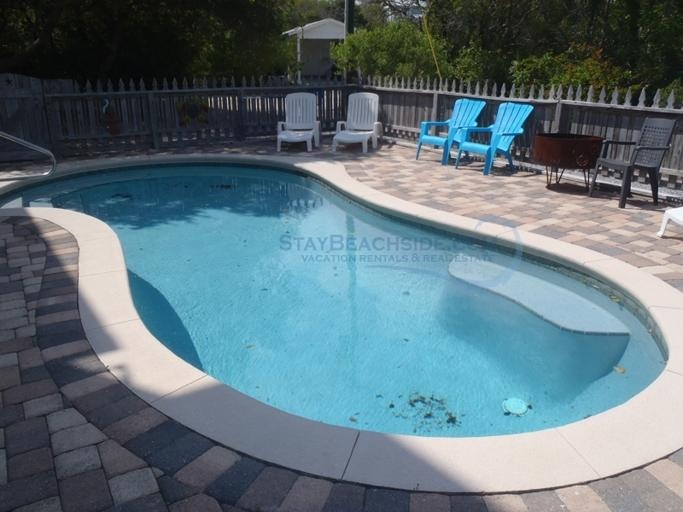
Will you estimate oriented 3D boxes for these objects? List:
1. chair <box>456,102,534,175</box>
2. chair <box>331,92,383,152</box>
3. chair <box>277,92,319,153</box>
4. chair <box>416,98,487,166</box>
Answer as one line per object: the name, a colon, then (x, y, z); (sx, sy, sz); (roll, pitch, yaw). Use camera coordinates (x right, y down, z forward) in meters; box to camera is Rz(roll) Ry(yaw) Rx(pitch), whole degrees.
chair: (3.116, -2.422, 8.979); (1.244, 1.323, 1.574); (-2, 22, -11)
chair: (0.423, -3.205, 11.163); (1.151, 1.469, 1.868); (8, 39, 14)
chair: (-1.127, -3.515, 11.834); (1.019, 1.313, 1.425); (-1, 5, -12)
chair: (2.396, -2.657, 9.485); (1.300, 1.168, 0.980); (-17, 29, -30)
